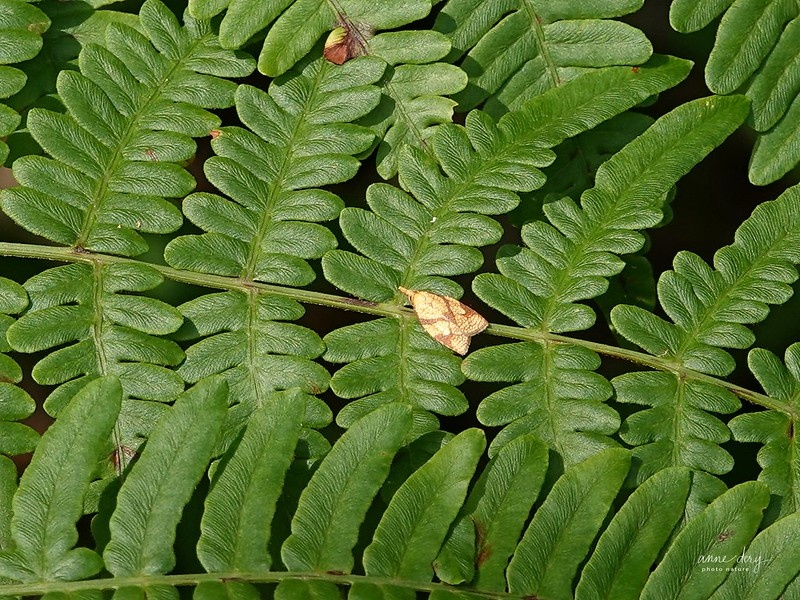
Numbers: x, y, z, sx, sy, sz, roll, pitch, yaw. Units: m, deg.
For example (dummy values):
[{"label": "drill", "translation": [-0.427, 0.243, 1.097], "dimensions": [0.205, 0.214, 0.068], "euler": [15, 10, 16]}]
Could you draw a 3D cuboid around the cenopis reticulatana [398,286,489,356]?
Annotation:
[{"label": "cenopis reticulatana", "translation": [0.176, 0.091, 4.659], "dimensions": [0.388, 0.281, 0.108], "euler": [4, -30, -7]}]
